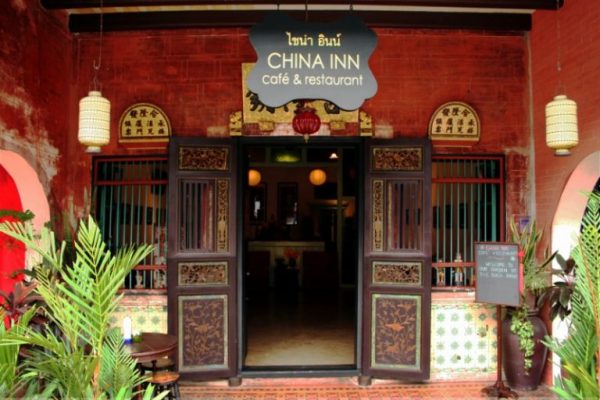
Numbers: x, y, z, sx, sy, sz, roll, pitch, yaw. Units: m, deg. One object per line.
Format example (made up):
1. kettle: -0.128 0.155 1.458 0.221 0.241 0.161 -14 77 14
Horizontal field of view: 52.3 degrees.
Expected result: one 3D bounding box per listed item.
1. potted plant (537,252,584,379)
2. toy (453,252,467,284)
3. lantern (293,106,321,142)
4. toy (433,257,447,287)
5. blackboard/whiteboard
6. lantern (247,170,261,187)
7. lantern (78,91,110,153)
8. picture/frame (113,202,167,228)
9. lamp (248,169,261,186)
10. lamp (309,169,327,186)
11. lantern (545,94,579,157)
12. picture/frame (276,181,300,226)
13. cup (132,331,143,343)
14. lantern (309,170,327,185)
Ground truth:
1. potted plant: 3.087 1.301 7.293 0.413 1.409 0.665 -2 -3 16
2. toy: 2.097 0.868 7.936 0.209 0.443 0.128 2 -4 -39
3. lantern: 0.089 -0.911 7.203 0.344 0.388 0.348 1 2 27
4. toy: 1.826 0.935 7.947 0.241 0.368 0.250 0 -4 -1
5. blackboard/whiteboard: 2.415 0.882 7.358 0.739 1.051 0.104 -1 -2 29
6. lantern: -0.889 -0.434 12.354 0.352 0.400 0.356 -2 6 -18
7. lantern: -2.350 -0.899 7.001 0.373 0.689 0.382 0 -2 -1
8. picture/frame: -2.144 0.178 8.184 0.694 0.305 0.690 0 -3 -9
9. lamp: -0.912 -0.471 12.330 0.347 0.393 0.353 -2 5 -16
10. lamp: 0.381 -0.482 12.817 0.338 0.362 0.342 -1 1 8
11. lantern: 2.987 -0.852 6.951 0.352 0.681 0.340 -2 -4 22
12. picture/frame: -0.268 0.074 14.663 0.522 1.075 0.031 1 11 2
13. cup: -1.780 1.488 6.710 0.099 0.104 0.102 0 -1 0
14. lantern: 0.390 -0.493 12.810 0.324 0.340 0.326 -1 1 9
